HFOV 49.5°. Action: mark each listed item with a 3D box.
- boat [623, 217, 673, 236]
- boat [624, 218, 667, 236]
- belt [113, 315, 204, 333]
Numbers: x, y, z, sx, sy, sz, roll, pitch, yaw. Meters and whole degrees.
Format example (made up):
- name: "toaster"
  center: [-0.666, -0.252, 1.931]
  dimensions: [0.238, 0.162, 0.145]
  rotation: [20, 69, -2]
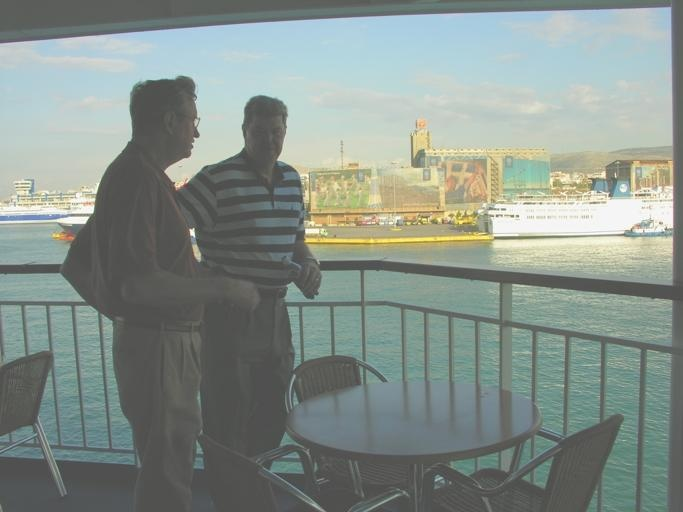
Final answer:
- name: "boat"
  center: [15.253, -1.334, 36.570]
  dimensions: [1.571, 0.975, 2.121]
  rotation: [0, 7, -4]
- name: "boat"
  center: [15.057, -1.441, 36.672]
  dimensions: [2.019, 0.735, 1.352]
  rotation: [-3, 6, 0]
- name: "belt"
  center: [-0.836, 0.310, 3.364]
  dimensions: [0.374, 0.084, 0.105]
  rotation: [-1, 7, -17]
